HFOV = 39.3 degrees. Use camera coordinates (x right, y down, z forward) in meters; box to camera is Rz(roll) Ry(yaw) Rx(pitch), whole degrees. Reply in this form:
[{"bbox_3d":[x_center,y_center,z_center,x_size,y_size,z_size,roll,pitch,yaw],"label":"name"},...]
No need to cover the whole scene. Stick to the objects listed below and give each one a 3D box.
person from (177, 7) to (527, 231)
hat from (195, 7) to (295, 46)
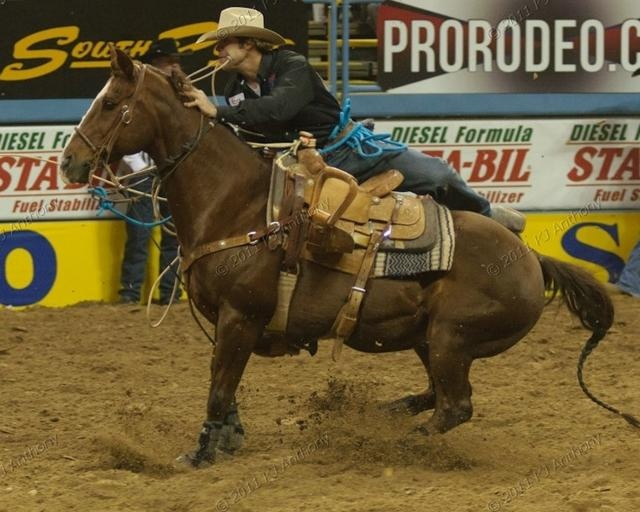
[{"bbox_3d":[0.663,-0.925,6.875,3.504,1.005,1.153,12,2,-19],"label":"person"},{"bbox_3d":[-0.471,-1.618,6.377,0.551,0.137,0.360,-1,3,-12],"label":"hat"}]
